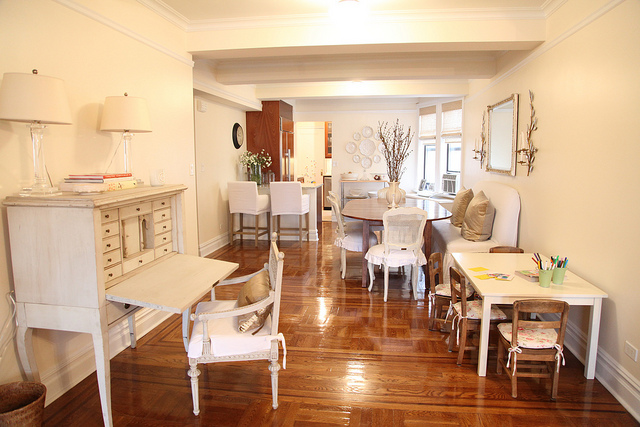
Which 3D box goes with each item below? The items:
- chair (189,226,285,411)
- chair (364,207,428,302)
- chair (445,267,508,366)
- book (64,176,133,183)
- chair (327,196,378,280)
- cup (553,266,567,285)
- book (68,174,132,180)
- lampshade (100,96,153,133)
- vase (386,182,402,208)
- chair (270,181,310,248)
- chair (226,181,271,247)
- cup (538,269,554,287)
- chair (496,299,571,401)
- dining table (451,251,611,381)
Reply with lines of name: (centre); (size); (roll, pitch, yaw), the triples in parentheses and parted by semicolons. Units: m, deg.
chair: (-0.690, 0.927, 3.703); (0.755, 1.337, 0.575); (-1, 10, -7)
chair: (1.024, 0.477, 5.622); (0.879, 1.149, 0.905); (-4, 8, -34)
chair: (1.516, 0.995, 4.253); (0.606, 0.816, 0.582); (2, 6, 24)
book: (-1.843, -0.283, 3.683); (0.518, 0.039, 0.240); (-5, 10, -32)
chair: (0.513, 0.300, 6.102); (0.677, 1.001, 0.644); (4, 11, 23)
cup: (2.140, 0.561, 3.906); (0.125, 0.143, 0.131); (2, 7, 0)
book: (-1.814, -0.313, 3.696); (0.499, 0.040, 0.223); (-7, 12, -41)
lampshade: (-1.770, -0.914, 3.974); (0.355, 0.237, 0.347); (-3, 8, -17)
vase: (1.061, -0.262, 6.278); (0.207, 0.373, 0.404); (2, 10, 9)
chair: (-0.538, -0.003, 7.857); (0.705, 1.156, 0.627); (0, 10, -1)
chair: (-1.250, -0.007, 7.828); (0.746, 1.042, 0.753); (5, 6, 41)
cup: (1.995, 0.584, 3.938); (0.141, 0.143, 0.133); (3, 6, 0)
chair: (1.879, 1.156, 3.906); (0.615, 0.890, 0.652); (0, 5, -4)
dining table: (1.911, 0.772, 4.109); (0.959, 0.685, 1.386); (-1, 11, 2)
